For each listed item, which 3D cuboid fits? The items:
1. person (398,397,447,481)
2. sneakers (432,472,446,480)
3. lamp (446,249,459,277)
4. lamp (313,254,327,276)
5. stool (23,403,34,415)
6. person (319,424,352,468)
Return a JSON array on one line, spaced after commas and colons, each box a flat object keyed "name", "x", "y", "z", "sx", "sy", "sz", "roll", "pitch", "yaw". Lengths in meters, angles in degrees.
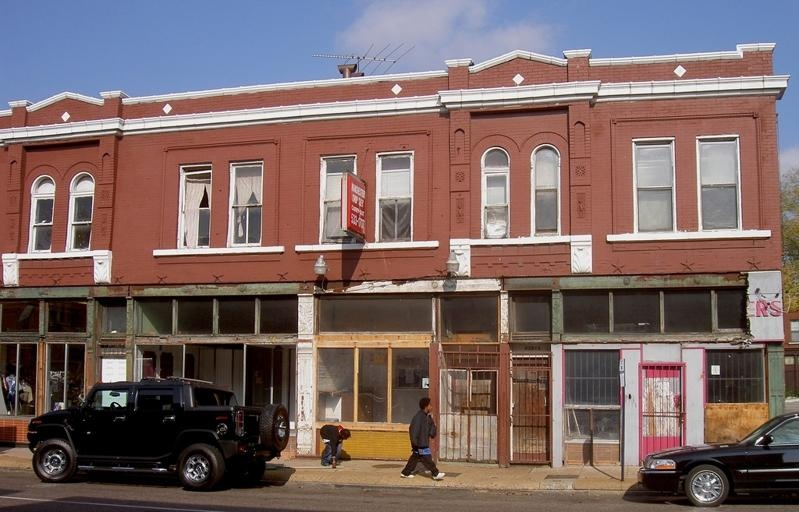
[{"name": "person", "x": 0.639, "y": 5.359, "z": 35.033, "sx": 1.169, "sy": 2.463, "sz": 1.010, "roll": 0, "pitch": -13, "yaw": 0}, {"name": "sneakers", "x": 1.119, "y": 6.435, "z": 34.789, "sx": 0.158, "sy": 0.173, "sz": 0.402, "roll": 3, "pitch": -18, "yaw": -22}, {"name": "lamp", "x": 1.665, "y": 0.120, "z": 36.968, "sx": 0.446, "sy": 0.824, "sz": 0.714, "roll": -1, "pitch": -13, "yaw": 3}, {"name": "lamp", "x": -2.517, "y": 0.209, "z": 37.817, "sx": 0.429, "sy": 0.680, "sz": 0.690, "roll": 1, "pitch": -13, "yaw": -5}, {"name": "stool", "x": -12.465, "y": 5.097, "z": 39.760, "sx": 0.382, "sy": 0.365, "sz": 0.205, "roll": -1, "pitch": -5, "yaw": 6}, {"name": "person", "x": -2.042, "y": 5.779, "z": 36.273, "sx": 0.612, "sy": 1.303, "sz": 0.899, "roll": -12, "pitch": -18, "yaw": 42}]
